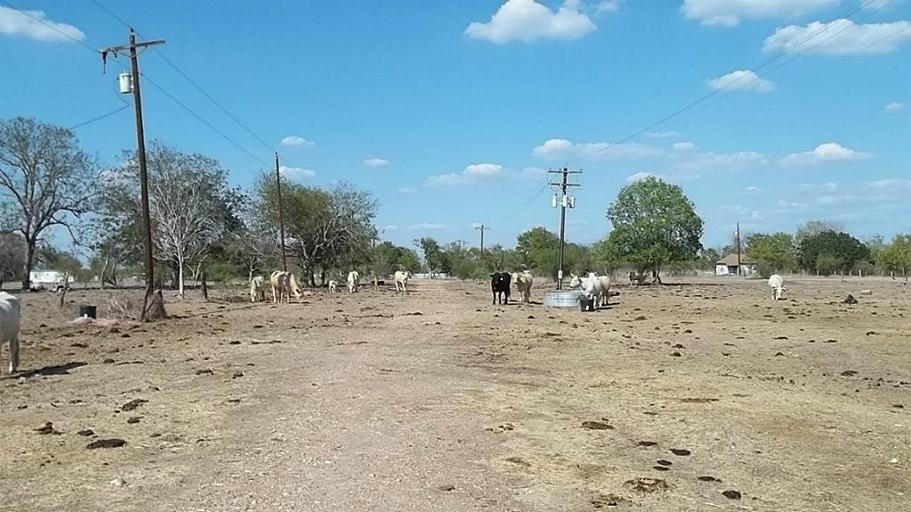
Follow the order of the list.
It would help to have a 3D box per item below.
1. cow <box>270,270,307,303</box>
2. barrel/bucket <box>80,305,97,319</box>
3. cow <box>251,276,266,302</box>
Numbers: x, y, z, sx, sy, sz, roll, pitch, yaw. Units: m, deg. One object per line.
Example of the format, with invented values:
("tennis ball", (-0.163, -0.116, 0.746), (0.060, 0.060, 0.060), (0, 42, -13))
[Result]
("cow", (-10.822, 2.096, 40.711), (1.654, 2.199, 2.913), (-5, 15, -19))
("barrel/bucket", (-16.234, 2.455, 28.244), (0.737, 0.674, 0.733), (-3, -5, 0))
("cow", (-12.898, 2.127, 41.464), (0.641, 1.555, 1.039), (1, 14, 6))
